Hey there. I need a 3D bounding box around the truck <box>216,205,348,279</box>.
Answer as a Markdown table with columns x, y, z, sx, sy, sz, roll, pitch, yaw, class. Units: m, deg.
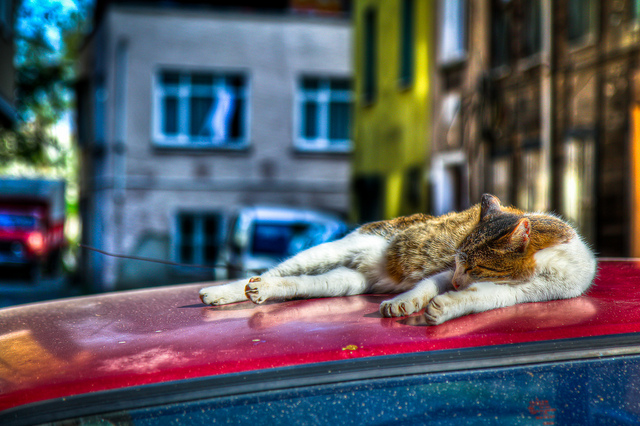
| x | y | z | sx | sy | sz | roll | pitch | yaw | class |
| --- | --- | --- | --- | --- | --- | --- | --- | --- | --- |
| -0.979 | 0.941 | 19.426 | 2.620 | 1.567 | 1.795 | -4 | 5 | -9 | truck |
